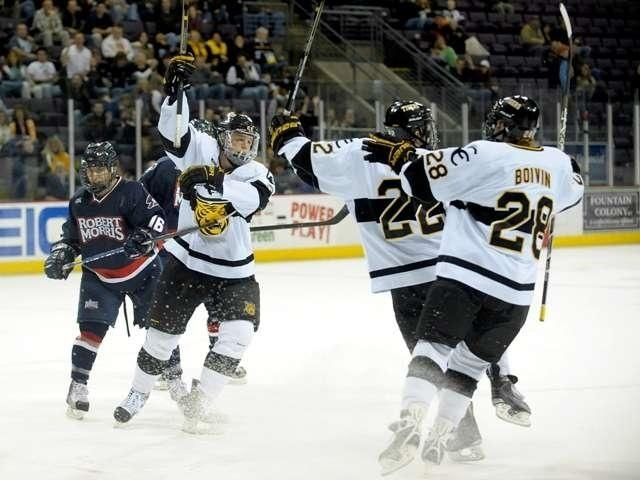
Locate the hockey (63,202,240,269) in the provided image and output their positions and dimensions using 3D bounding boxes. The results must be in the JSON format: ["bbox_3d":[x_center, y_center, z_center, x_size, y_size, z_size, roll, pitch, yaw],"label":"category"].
[{"bbox_3d":[-1.097,-0.031,6.161,1.207,0.130,0.040,-16,48,1],"label":"hockey"}]

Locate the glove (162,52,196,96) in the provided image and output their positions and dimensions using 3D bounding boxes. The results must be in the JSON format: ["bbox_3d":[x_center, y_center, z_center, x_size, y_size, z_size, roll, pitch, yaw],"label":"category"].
[{"bbox_3d":[-0.868,-1.040,5.917,0.199,0.261,0.177,6,13,31],"label":"glove"}]

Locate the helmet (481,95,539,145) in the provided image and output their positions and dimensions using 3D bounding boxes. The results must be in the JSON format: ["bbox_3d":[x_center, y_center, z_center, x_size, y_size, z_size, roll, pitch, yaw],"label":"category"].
[{"bbox_3d":[1.161,-0.745,5.625,0.354,0.294,0.299,19,25,35],"label":"helmet"}]

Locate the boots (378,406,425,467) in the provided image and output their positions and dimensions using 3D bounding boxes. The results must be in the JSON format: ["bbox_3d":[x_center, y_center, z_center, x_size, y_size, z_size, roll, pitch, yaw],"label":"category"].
[{"bbox_3d":[0.463,1.113,5.404,0.202,0.460,0.168,15,9,-6],"label":"boots"}]

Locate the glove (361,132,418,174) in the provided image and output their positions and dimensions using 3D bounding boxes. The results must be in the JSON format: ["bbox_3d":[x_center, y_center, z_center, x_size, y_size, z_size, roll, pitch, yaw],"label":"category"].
[{"bbox_3d":[0.427,-0.499,5.632,0.219,0.094,0.349,15,-3,-19],"label":"glove"}]

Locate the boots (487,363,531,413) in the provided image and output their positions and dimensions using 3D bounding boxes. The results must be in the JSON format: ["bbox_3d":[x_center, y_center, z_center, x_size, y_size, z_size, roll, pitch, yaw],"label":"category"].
[{"bbox_3d":[1.245,0.987,6.212,0.393,0.234,0.136,18,-8,-36],"label":"boots"}]

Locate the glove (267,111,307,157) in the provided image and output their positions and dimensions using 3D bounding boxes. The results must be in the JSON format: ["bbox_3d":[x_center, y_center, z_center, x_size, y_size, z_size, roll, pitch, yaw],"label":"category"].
[{"bbox_3d":[-0.203,-0.677,5.914,0.203,0.244,0.130,6,8,4],"label":"glove"}]

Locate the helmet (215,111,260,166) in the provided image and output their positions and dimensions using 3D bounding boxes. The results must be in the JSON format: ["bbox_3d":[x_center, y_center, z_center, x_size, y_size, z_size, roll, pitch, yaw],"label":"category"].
[{"bbox_3d":[-0.543,-0.664,6.089,0.283,0.326,0.329,10,5,-38],"label":"helmet"}]

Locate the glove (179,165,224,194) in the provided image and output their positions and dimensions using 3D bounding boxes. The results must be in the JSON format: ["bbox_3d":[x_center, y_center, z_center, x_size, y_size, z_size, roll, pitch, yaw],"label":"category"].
[{"bbox_3d":[-0.722,-0.374,5.765,0.231,0.162,0.095,-5,45,-29],"label":"glove"}]

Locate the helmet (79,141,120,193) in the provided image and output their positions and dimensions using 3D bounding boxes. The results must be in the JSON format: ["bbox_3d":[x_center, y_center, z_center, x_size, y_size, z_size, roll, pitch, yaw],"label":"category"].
[{"bbox_3d":[-1.482,-0.499,6.402,0.249,0.326,0.325,2,22,12],"label":"helmet"}]

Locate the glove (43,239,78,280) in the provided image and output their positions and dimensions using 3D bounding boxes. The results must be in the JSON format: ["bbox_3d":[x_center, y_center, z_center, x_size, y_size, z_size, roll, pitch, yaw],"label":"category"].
[{"bbox_3d":[-1.771,0.137,6.526,0.150,0.242,0.342,19,-7,-14],"label":"glove"}]

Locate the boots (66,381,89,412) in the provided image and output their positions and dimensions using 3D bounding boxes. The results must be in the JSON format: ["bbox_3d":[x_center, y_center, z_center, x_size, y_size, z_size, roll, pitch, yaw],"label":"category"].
[{"bbox_3d":[-1.576,0.999,6.225,0.103,0.150,0.313,17,11,-29],"label":"boots"}]

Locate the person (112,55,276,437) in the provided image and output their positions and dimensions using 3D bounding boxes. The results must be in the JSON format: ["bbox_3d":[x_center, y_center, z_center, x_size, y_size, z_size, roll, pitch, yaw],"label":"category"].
[{"bbox_3d":[-0.760,0.013,5.974,0.949,2.332,0.521,-2,11,-4],"label":"person"}]

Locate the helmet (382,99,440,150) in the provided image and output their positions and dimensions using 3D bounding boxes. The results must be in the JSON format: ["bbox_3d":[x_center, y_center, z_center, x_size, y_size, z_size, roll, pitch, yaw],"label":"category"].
[{"bbox_3d":[0.560,-0.708,5.824,0.318,0.293,0.260,-5,11,-5],"label":"helmet"}]

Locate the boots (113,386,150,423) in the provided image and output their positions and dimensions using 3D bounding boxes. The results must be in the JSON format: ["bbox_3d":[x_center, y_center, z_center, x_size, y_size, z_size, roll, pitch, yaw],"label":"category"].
[{"bbox_3d":[-1.183,1.053,6.120,0.145,0.112,0.332,-34,12,19],"label":"boots"}]

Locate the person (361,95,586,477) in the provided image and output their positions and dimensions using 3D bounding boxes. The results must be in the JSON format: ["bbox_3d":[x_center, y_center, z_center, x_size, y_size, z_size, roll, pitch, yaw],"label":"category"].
[{"bbox_3d":[0.844,0.219,5.555,1.277,2.082,0.534,-5,12,-21],"label":"person"}]
